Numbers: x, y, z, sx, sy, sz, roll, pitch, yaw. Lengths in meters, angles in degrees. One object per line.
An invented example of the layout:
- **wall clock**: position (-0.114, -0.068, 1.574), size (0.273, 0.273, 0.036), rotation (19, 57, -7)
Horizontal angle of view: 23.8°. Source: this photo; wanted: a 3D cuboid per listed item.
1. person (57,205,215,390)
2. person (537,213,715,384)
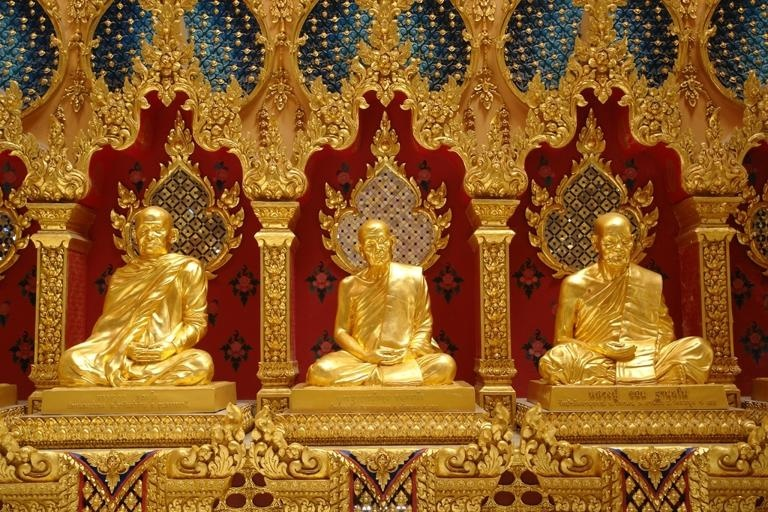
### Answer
- **person**: position (-1.859, 0.308, 14.006), size (1.085, 1.415, 0.450), rotation (1, -5, -7)
- **person**: position (1.782, 0.328, 14.066), size (1.282, 1.339, 0.951), rotation (-1, 3, -7)
